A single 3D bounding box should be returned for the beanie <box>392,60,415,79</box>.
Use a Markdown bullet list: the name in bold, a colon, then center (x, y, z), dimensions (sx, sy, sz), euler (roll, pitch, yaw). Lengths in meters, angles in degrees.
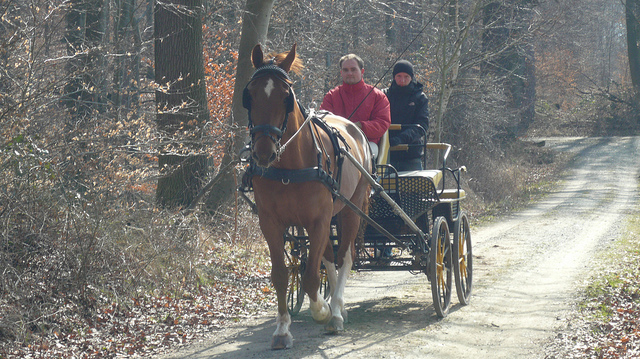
- **beanie**: center (2.838, -3.768, 38.213), dimensions (0.592, 0.481, 0.629), euler (3, 9, 7)
